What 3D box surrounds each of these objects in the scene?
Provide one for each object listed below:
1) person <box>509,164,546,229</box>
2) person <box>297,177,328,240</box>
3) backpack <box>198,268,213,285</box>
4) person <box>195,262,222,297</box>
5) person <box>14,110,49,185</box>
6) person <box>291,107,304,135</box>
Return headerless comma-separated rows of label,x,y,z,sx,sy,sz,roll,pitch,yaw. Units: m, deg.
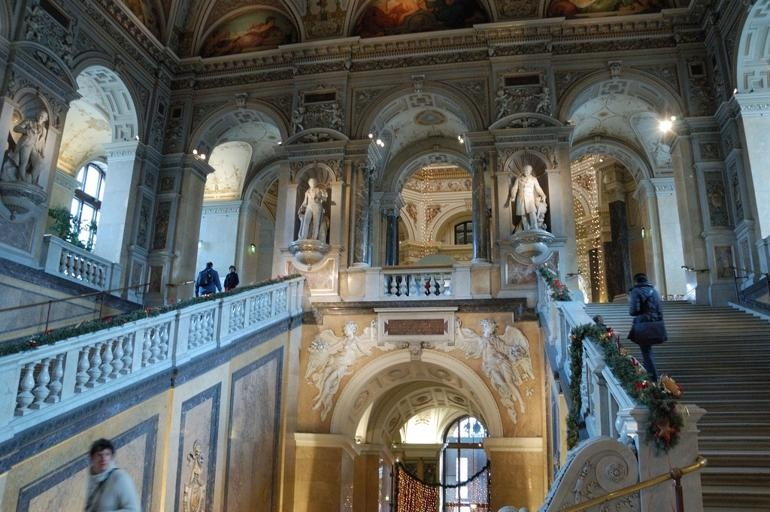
person,3.508,-1.454,12.291,0.848,1.757,0.921,-8,-10,31
person,-1.873,-1.256,12.946,0.808,1.765,0.592,-1,-9,-11
backpack,-4.474,0.502,12.319,0.335,0.468,0.251,-2,-35,0
person,-4.643,0.590,12.982,0.781,1.014,0.451,-4,-9,19
person,-7.608,-2.413,10.637,0.212,1.706,0.631,-8,-10,28
person,-2.457,-3.863,13.891,0.316,0.780,0.160,-8,-10,31
